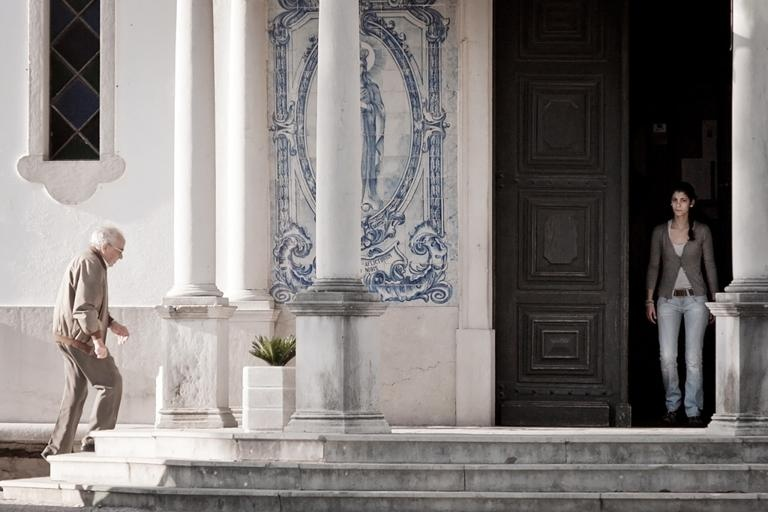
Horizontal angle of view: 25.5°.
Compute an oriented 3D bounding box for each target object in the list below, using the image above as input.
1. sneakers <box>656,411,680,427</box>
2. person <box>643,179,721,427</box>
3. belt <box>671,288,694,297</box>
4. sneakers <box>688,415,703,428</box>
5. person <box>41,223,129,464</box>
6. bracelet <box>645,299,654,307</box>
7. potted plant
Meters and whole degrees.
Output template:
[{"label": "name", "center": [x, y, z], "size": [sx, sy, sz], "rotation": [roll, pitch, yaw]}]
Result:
[{"label": "sneakers", "center": [3.397, 2.007, 20.514], "size": [0.287, 0.164, 0.327], "rotation": [-3, -3, 35]}, {"label": "person", "center": [3.526, 0.639, 20.405], "size": [0.843, 2.852, 0.504], "rotation": [-2, -10, 14]}, {"label": "belt", "center": [3.545, 0.453, 20.355], "size": [0.235, 0.102, 0.039], "rotation": [-1, -10, 6]}, {"label": "sneakers", "center": [3.680, 2.005, 20.245], "size": [0.192, 0.124, 0.246], "rotation": [0, -9, 3]}, {"label": "person", "center": [-3.320, 0.985, 19.217], "size": [0.869, 2.650, 0.545], "rotation": [2, -10, -11]}, {"label": "bracelet", "center": [3.184, 0.584, 20.647], "size": [0.106, 0.065, 0.104], "rotation": [3, -3, 2]}, {"label": "potted plant", "center": [-1.281, 1.455, 19.088], "size": [0.567, 1.101, 0.562], "rotation": [1, -10, -4]}]
